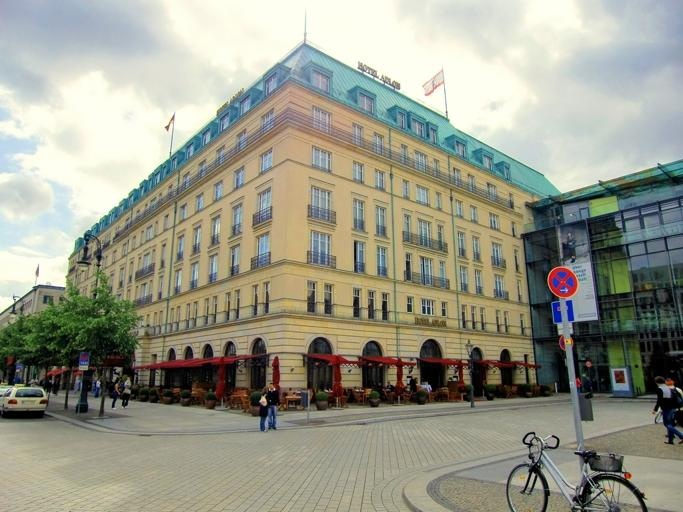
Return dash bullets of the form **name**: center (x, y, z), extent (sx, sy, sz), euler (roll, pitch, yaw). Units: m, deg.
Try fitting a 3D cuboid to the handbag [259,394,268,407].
- **handbag**: center (-3.591, 6.725, 20.524), extent (0.315, 0.527, 0.651), euler (2, -18, -10)
